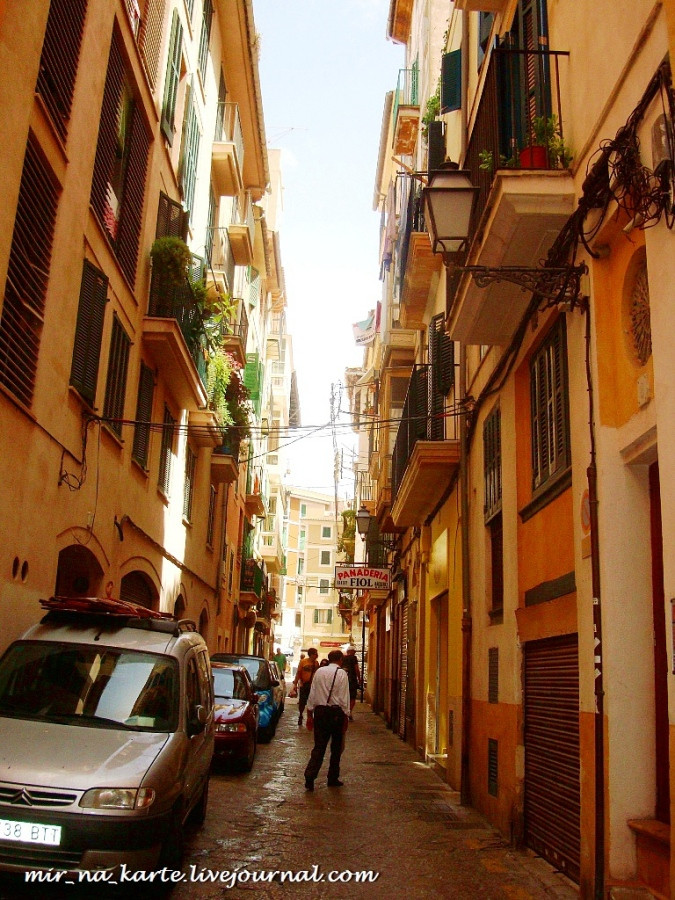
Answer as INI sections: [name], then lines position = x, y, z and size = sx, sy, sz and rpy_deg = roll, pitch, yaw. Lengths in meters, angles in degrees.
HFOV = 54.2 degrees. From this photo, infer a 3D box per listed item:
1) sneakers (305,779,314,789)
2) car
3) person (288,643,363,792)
[sneakers]
position = -0.389, 4.601, 9.229
size = 0.114, 0.180, 0.109
rpy_deg = 6, -8, -41
[car]
position = -2.133, 6.342, 16.561
size = 1.387, 1.998, 4.095
rpy_deg = 0, -17, 1
[person]
position = -0.152, 4.036, 9.911
size = 0.629, 1.904, 1.540
rpy_deg = 3, -20, 0
